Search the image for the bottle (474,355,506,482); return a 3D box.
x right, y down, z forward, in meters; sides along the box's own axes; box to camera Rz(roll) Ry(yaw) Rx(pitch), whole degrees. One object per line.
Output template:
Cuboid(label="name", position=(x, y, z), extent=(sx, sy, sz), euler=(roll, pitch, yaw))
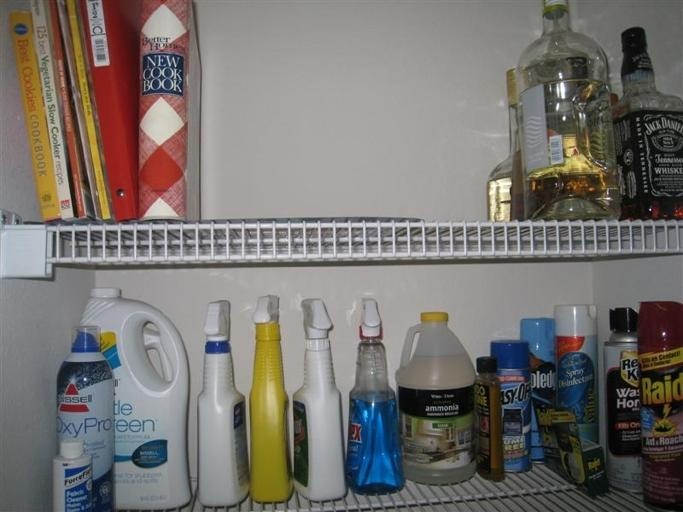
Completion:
Cuboid(label="bottle", position=(0.268, 0.293, 1.172), extent=(0.049, 0.224, 0.047), euler=(-2, 0, 0))
